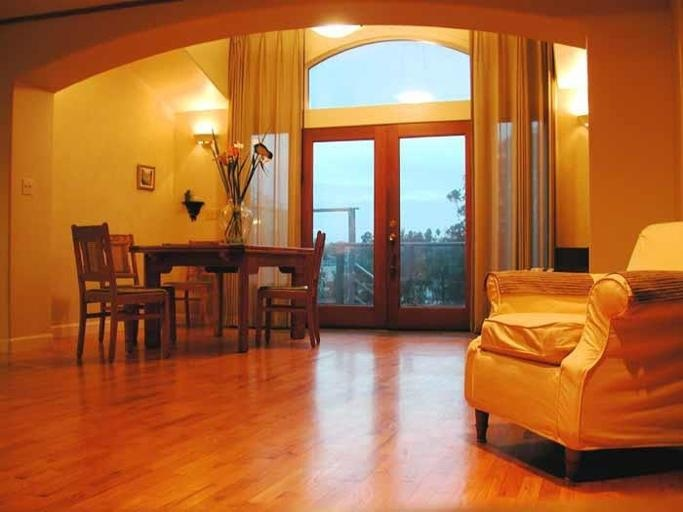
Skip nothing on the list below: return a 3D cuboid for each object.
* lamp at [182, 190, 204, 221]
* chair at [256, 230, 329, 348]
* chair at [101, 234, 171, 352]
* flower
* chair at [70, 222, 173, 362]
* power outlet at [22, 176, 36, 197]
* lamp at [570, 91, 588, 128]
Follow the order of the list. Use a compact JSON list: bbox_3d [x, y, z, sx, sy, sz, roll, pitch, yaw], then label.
[{"bbox_3d":[-1.807,-0.597,7.135,0.299,0.380,0.131,1,3,20],"label":"lamp"},{"bbox_3d":[-0.462,0.329,5.665,0.541,0.974,0.555,1,1,2],"label":"chair"},{"bbox_3d":[-1.806,0.317,5.415,0.528,1.039,0.503,0,1,-3],"label":"chair"},{"bbox_3d":[-1.112,-1.033,6.490,0.760,0.943,0.771,8,10,30],"label":"flower"},{"bbox_3d":[-1.923,0.286,5.189,0.718,1.115,1.537,-1,3,-21],"label":"chair"},{"bbox_3d":[-2.719,-0.596,5.138,0.018,0.158,0.113,1,3,25],"label":"power outlet"},{"bbox_3d":[2.416,-1.478,5.964,0.108,0.376,0.201,-1,3,-15],"label":"lamp"}]
